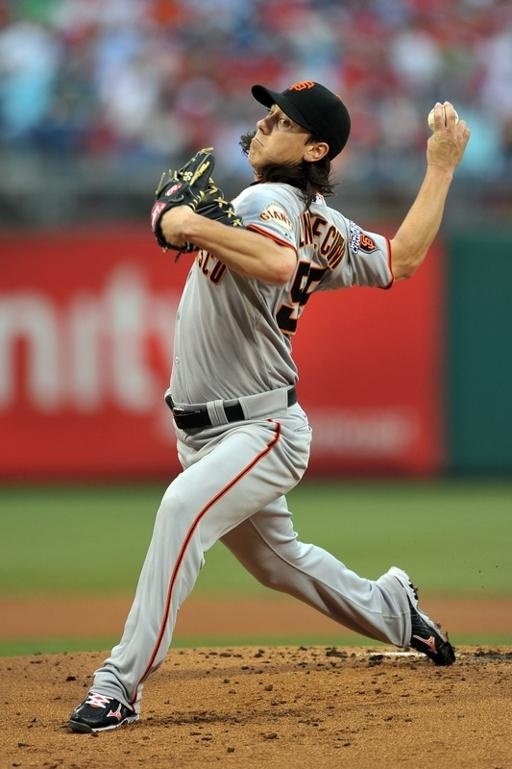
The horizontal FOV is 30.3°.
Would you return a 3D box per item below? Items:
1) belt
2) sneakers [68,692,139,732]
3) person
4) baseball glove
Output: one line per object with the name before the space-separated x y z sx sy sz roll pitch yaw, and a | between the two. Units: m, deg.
belt | -0.077 0.070 2.626 0.319 0.120 0.104 -3 -9 6
sneakers | -0.376 0.825 2.395 0.073 0.083 0.187 -6 -2 43
person | 0.115 -0.012 2.741 0.711 1.827 1.181 -9 -11 38
baseball glove | -0.142 -0.463 2.524 0.298 0.217 0.140 -37 -16 -21
